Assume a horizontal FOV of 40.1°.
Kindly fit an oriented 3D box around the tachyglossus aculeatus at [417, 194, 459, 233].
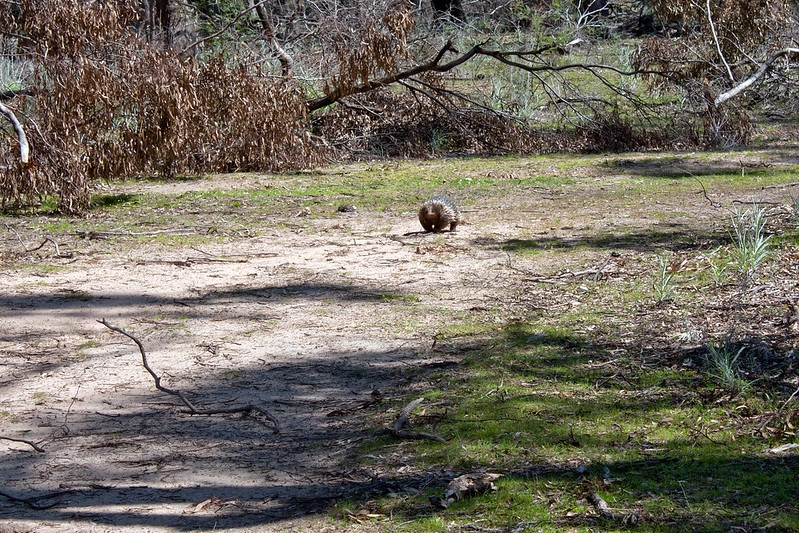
[{"bbox_3d":[0.542,-0.779,16.792,0.671,0.445,0.909,-3,5,7],"label":"tachyglossus aculeatus"}]
